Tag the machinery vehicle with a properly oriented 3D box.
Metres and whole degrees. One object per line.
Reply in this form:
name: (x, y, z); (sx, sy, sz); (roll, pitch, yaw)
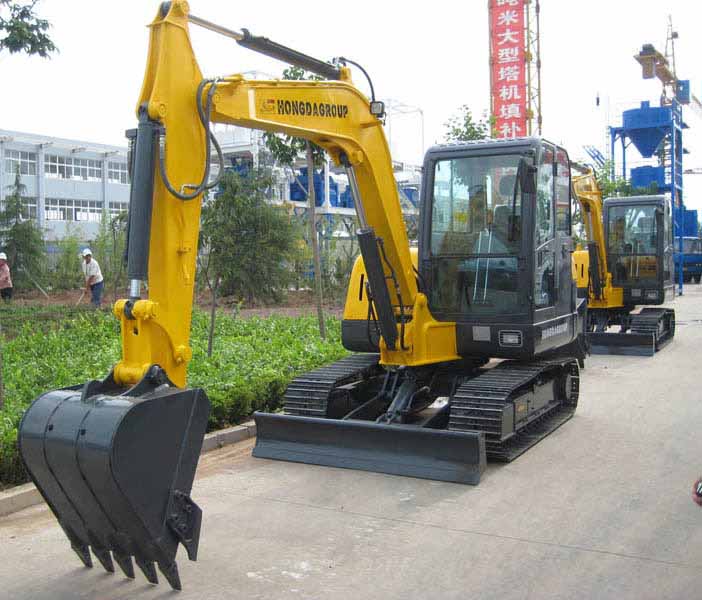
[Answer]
machinery vehicle: (-0.219, -0.095, 7.246); (2.464, 4.355, 6.702); (0, 1, 31)
